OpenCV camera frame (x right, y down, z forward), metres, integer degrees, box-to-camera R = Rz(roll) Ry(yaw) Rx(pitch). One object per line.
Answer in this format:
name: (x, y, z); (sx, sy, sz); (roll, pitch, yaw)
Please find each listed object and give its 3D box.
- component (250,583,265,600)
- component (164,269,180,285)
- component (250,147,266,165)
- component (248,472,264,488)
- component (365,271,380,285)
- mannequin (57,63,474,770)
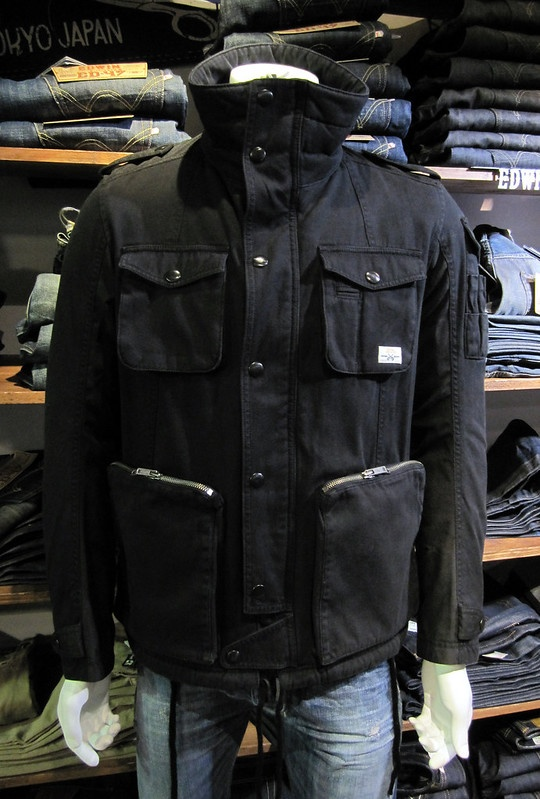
component: (-0.016, 0.245, 0.941); (0.017, 0.020, 0.004); (-5, 6, -8)
component: (-0.122, -0.153, 0.927); (0.016, 0.018, 0.005); (4, -9, 5)
component: (-0.020, -0.299, 0.909); (0.019, 0.018, 0.005); (-2, 14, 13)
component: (-0.018, 0.101, 0.928); (0.019, 0.018, 0.004); (-24, 15, -36)
component: (0.131, -0.156, 0.949); (0.016, 0.018, 0.005); (4, -13, -10)
mannequin: (-0.002, 0.056, 1.013); (0.604, 1.050, 0.229); (-3, 6, 10)
